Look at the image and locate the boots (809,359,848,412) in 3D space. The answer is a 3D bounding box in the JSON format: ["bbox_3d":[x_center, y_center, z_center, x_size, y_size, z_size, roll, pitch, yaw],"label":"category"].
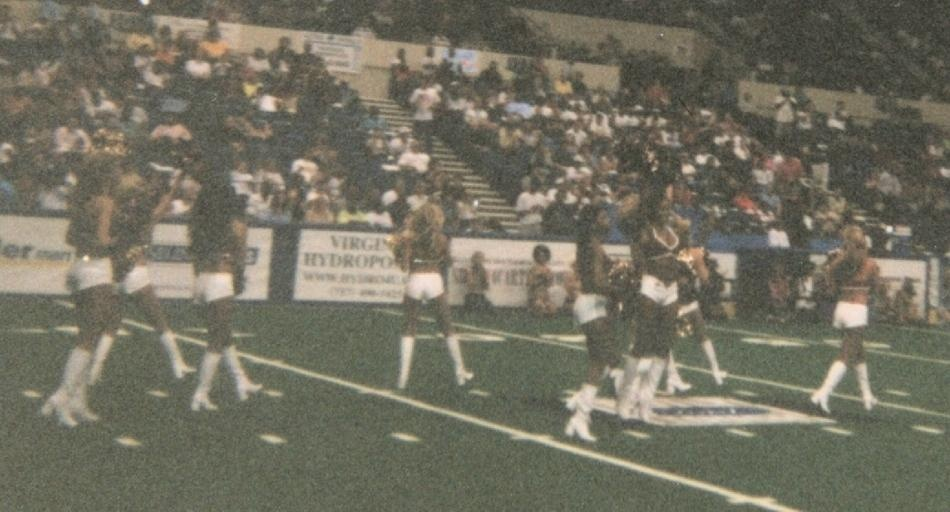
[{"bbox_3d":[2.277,0.832,7.527,0.185,0.354,0.105,26,1,-2],"label":"boots"}]

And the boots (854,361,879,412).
[{"bbox_3d":[2.557,0.862,7.597,0.120,0.383,0.116,-19,-7,43],"label":"boots"}]

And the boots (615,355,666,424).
[{"bbox_3d":[1.012,0.834,7.146,0.263,0.415,0.427,6,4,-6],"label":"boots"}]
